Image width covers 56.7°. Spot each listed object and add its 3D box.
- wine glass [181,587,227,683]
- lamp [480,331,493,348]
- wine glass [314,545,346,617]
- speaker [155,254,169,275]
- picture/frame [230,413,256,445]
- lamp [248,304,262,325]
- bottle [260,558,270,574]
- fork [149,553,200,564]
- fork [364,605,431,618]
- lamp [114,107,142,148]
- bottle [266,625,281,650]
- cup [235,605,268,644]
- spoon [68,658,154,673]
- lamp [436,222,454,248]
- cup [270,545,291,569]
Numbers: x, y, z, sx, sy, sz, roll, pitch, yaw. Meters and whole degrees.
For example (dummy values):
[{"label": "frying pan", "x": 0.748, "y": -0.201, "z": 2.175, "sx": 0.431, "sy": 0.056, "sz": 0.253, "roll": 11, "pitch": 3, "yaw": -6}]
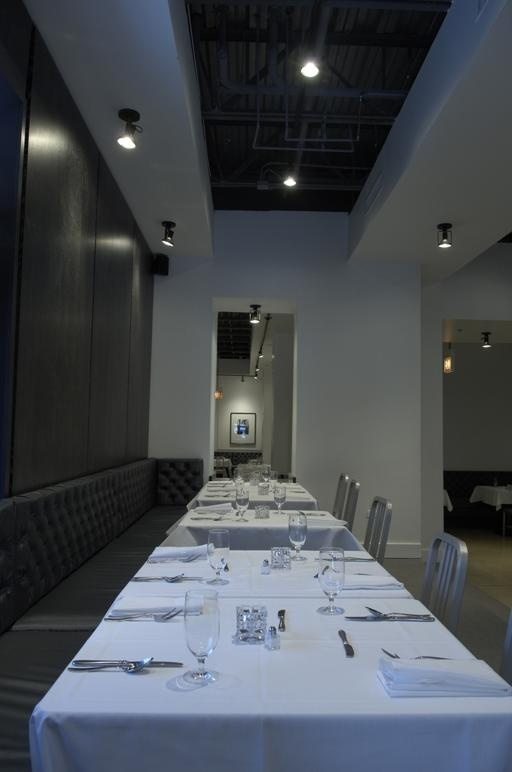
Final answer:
[{"label": "wine glass", "x": -0.106, "y": 0.452, "z": 0.883, "sx": 0.061, "sy": 0.179, "sz": 0.217, "roll": 1, "pitch": -7, "yaw": -8}, {"label": "lamp", "x": 3.560, "y": -0.722, "z": 7.327, "sx": 0.134, "sy": 0.278, "sz": 0.181, "roll": 1, "pitch": 5, "yaw": 11}, {"label": "wine glass", "x": 0.203, "y": 0.524, "z": 1.306, "sx": 0.072, "sy": 0.187, "sz": 0.266, "roll": -1, "pitch": -7, "yaw": 7}, {"label": "speaker", "x": -1.133, "y": -1.428, "z": 5.614, "sx": 0.130, "sy": 0.305, "sz": 0.185, "roll": 6, "pitch": 9, "yaw": 34}, {"label": "picture/frame", "x": -0.556, "y": 1.564, "z": 17.319, "sx": 0.861, "sy": 1.387, "sz": 0.077, "roll": 2, "pitch": -4, "yaw": -6}, {"label": "lamp", "x": -0.015, "y": -0.911, "z": 6.078, "sx": 0.137, "sy": 0.266, "sz": 0.391, "roll": 0, "pitch": -7, "yaw": 1}, {"label": "bottle", "x": 0.030, "y": 0.662, "z": 1.752, "sx": 0.027, "sy": 0.065, "sz": 0.032, "roll": 2, "pitch": -2, "yaw": 12}, {"label": "fork", "x": -0.319, "y": 0.676, "z": 1.862, "sx": 0.212, "sy": 0.014, "sz": 0.084, "roll": 1, "pitch": -7, "yaw": -10}, {"label": "fork", "x": 0.384, "y": 0.620, "z": 1.307, "sx": 0.153, "sy": 0.035, "sz": 0.032, "roll": 1, "pitch": -30, "yaw": 10}, {"label": "lamp", "x": -0.836, "y": -1.674, "z": 3.065, "sx": 0.148, "sy": 0.236, "sz": 0.130, "roll": 13, "pitch": -24, "yaw": -37}, {"label": "bottle", "x": 0.035, "y": 0.548, "z": 1.041, "sx": 0.029, "sy": 0.068, "sz": 0.032, "roll": 1, "pitch": 4, "yaw": 0}, {"label": "cup", "x": -0.014, "y": 0.546, "z": 1.106, "sx": 0.054, "sy": 0.072, "sz": 0.063, "roll": 0, "pitch": 0, "yaw": -2}, {"label": "spoon", "x": -0.283, "y": 0.540, "z": 0.921, "sx": 0.111, "sy": 0.026, "sz": 0.030, "roll": 0, "pitch": -11, "yaw": -1}, {"label": "lamp", "x": 1.797, "y": -1.439, "z": 4.515, "sx": 0.154, "sy": 0.288, "sz": 0.165, "roll": -1, "pitch": -3, "yaw": 14}, {"label": "cup", "x": 0.091, "y": 0.649, "z": 1.815, "sx": 0.055, "sy": 0.072, "sz": 0.064, "roll": 0, "pitch": -7, "yaw": 0}]
